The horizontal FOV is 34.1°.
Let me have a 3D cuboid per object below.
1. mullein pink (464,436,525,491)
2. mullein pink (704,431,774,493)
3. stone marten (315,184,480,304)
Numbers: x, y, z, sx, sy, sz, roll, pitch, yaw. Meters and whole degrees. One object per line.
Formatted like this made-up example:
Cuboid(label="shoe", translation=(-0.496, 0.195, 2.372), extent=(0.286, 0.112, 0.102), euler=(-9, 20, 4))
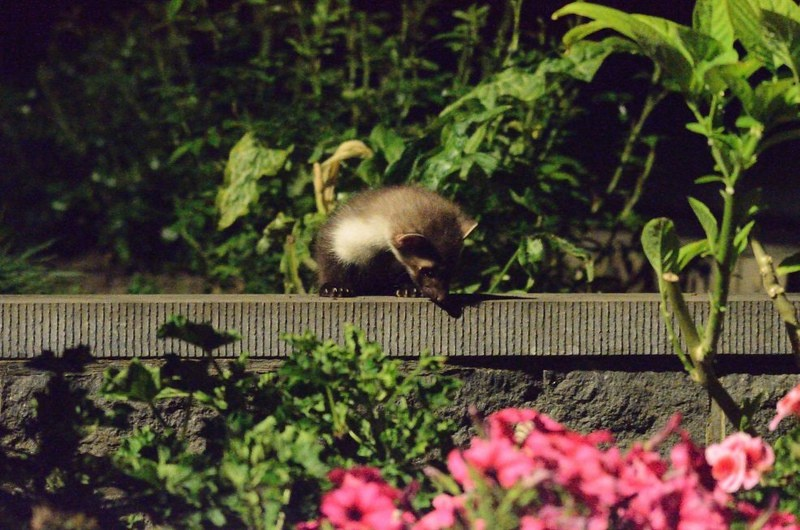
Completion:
Cuboid(label="mullein pink", translation=(0.461, 0.946, 6.209), extent=(0.294, 0.223, 0.254), euler=(-9, 34, -10))
Cuboid(label="mullein pink", translation=(1.597, 0.956, 6.311), extent=(0.309, 0.296, 0.143), euler=(-10, -8, -3))
Cuboid(label="stone marten", translation=(-0.114, -0.109, 7.251), extent=(0.724, 0.595, 1.078), euler=(-4, 12, -39))
